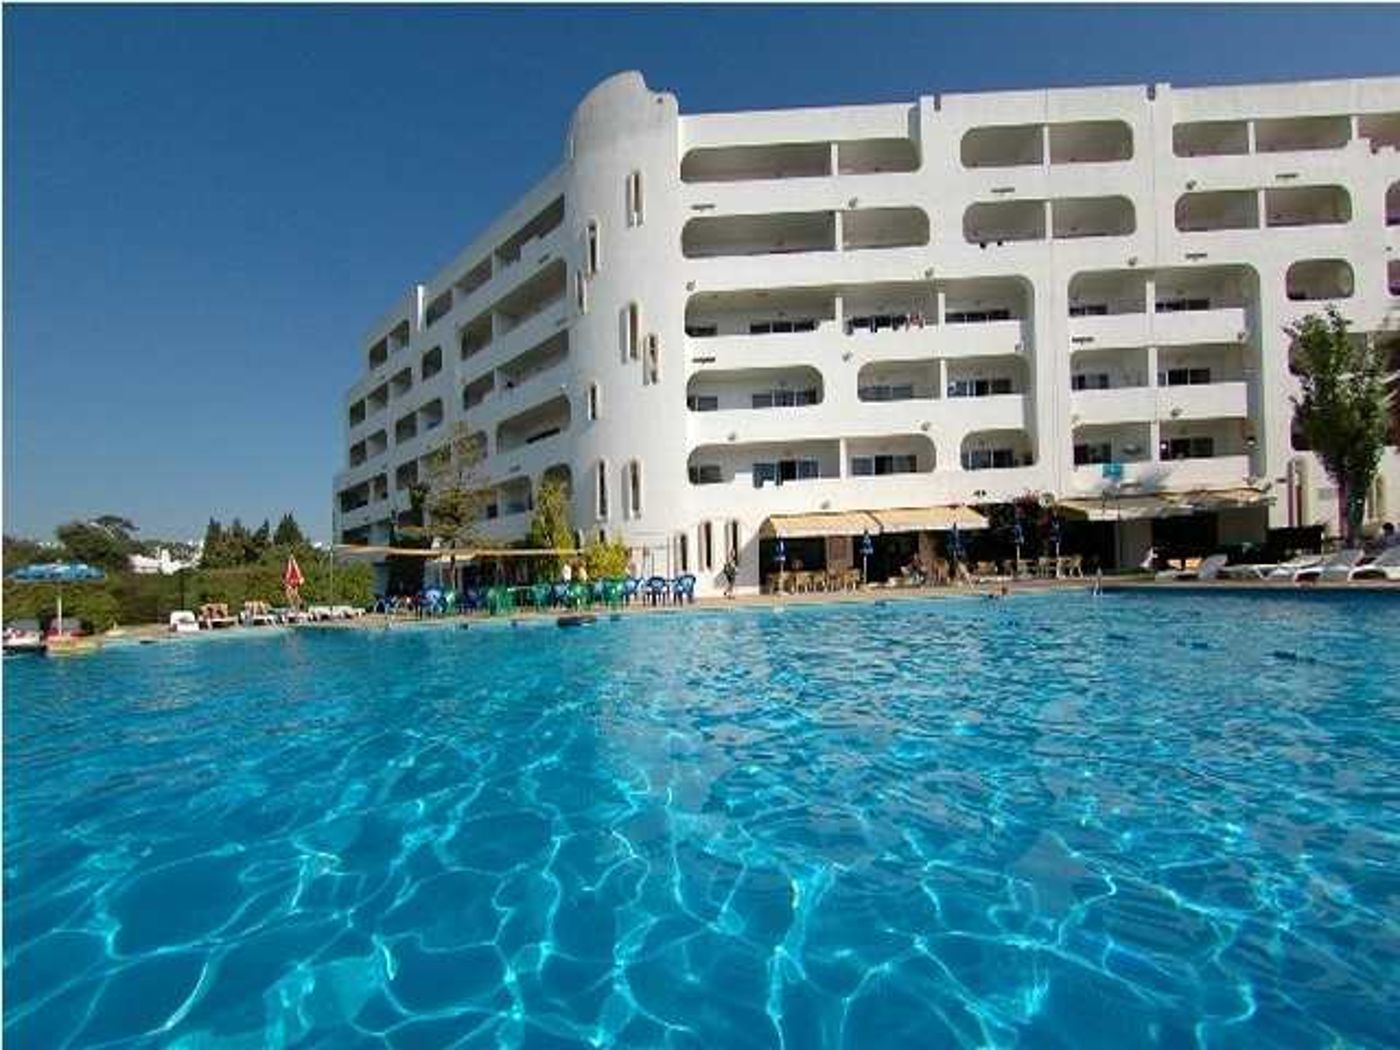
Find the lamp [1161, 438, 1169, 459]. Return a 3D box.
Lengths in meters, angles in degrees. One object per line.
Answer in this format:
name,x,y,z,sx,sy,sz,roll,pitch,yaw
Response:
lamp,14.470,-2.352,34.605,0.222,0.614,0.699,-4,-4,26

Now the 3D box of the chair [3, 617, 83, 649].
chair,-13.165,2.250,22.277,1.354,0.679,2.085,-1,-5,-30

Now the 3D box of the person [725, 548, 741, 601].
person,0.880,1.494,33.311,0.508,1.442,0.386,3,-3,32

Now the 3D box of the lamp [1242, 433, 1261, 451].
lamp,16.642,-2.517,33.594,0.349,0.414,0.403,-5,-12,43

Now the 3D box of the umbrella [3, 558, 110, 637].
umbrella,-12.260,1.439,21.029,1.782,1.369,1.929,-1,0,-26
